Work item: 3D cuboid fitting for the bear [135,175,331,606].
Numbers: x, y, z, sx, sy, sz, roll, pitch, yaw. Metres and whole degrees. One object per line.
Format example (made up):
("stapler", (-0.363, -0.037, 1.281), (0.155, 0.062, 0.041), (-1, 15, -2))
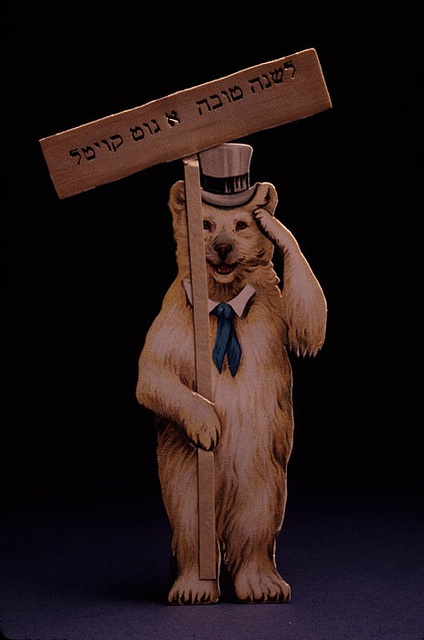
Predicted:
("bear", (0.051, 0.239, 3.631), (0.610, 1.130, 0.790), (4, -36, -4))
